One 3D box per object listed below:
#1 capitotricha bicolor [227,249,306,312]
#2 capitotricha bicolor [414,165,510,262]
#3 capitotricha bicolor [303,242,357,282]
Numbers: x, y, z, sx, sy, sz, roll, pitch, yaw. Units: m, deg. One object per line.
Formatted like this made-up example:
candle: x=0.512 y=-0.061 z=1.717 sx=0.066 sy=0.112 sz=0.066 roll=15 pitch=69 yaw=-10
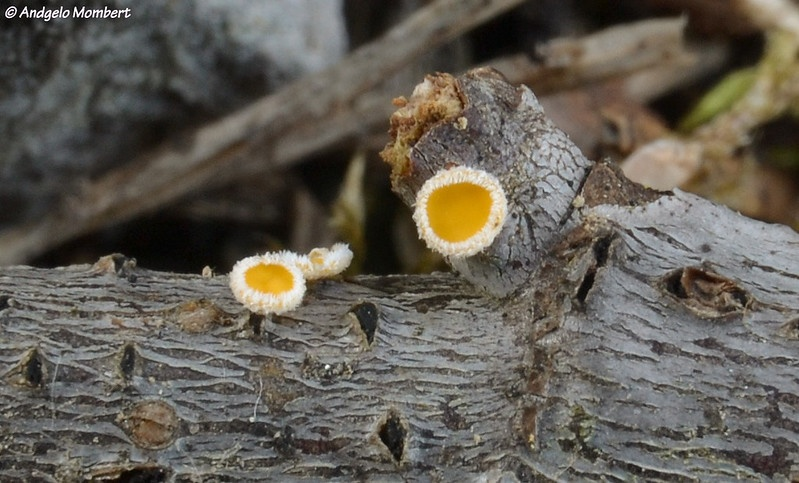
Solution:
capitotricha bicolor: x=-0.852 y=0.220 z=9.177 sx=0.554 sy=0.339 sz=0.400 roll=-9 pitch=21 yaw=-14
capitotricha bicolor: x=0.394 y=-0.177 z=9.008 sx=0.543 sy=0.570 sz=0.221 roll=-12 pitch=1 yaw=-3
capitotricha bicolor: x=-0.526 y=0.143 z=9.355 sx=0.321 sy=0.176 sz=0.374 roll=12 pitch=15 yaw=37
